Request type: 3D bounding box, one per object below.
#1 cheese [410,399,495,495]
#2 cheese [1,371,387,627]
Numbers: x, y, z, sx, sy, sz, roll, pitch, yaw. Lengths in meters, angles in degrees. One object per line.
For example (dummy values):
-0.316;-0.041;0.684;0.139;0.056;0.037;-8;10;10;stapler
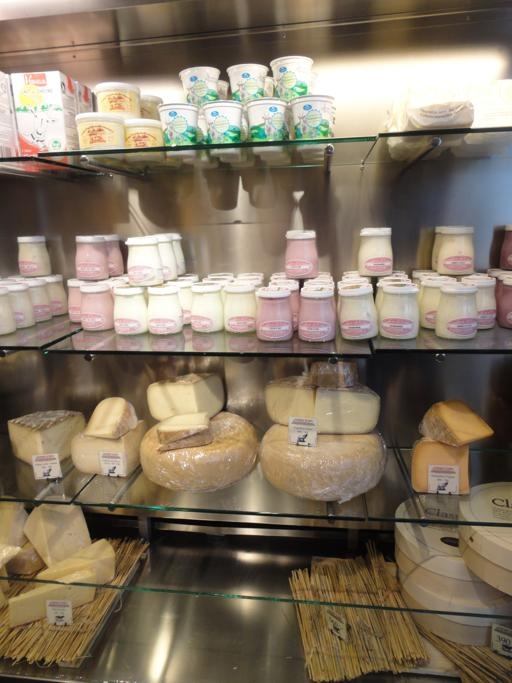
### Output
0.430;0.254;1.198;0.145;0.197;0.147;2;14;-1;cheese
-0.157;0.209;1.287;0.934;0.353;0.363;4;14;6;cheese
